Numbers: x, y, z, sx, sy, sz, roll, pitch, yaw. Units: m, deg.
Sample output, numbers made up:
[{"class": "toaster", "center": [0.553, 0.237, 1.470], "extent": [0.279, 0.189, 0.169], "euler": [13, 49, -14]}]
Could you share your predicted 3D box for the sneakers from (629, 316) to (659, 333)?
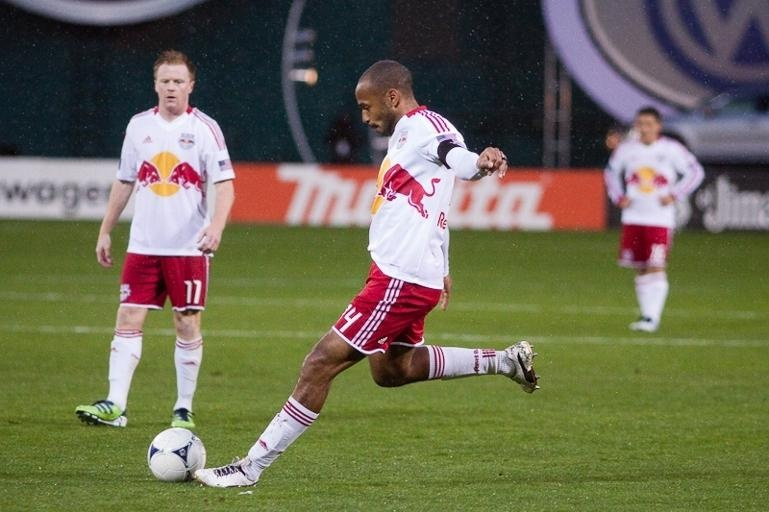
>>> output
[{"class": "sneakers", "center": [2.677, 0.695, 14.155], "extent": [0.225, 0.103, 0.175], "euler": [0, 4, 7]}]

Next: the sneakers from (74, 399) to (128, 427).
[{"class": "sneakers", "center": [-2.709, 1.528, 13.152], "extent": [0.483, 0.228, 0.217], "euler": [18, -14, -19]}]

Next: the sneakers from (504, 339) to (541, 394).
[{"class": "sneakers", "center": [1.313, 1.031, 13.123], "extent": [0.278, 0.612, 0.218], "euler": [-10, 9, -7]}]

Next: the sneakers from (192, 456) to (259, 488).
[{"class": "sneakers", "center": [-1.400, 1.939, 12.245], "extent": [0.615, 0.281, 0.222], "euler": [5, -7, -3]}]
